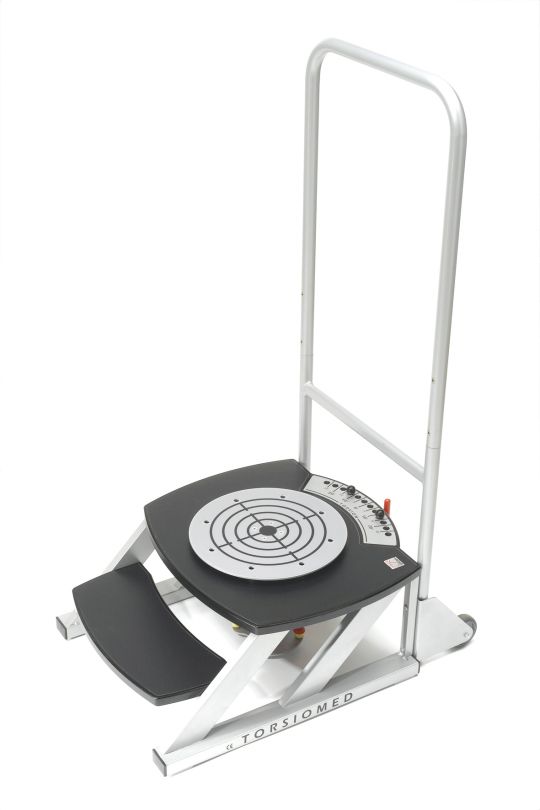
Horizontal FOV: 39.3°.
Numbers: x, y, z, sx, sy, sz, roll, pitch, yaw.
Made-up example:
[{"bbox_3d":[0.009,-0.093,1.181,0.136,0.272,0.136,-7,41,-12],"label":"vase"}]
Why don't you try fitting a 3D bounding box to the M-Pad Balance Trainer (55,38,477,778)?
[{"bbox_3d":[0.038,-0.064,1.877,0.991,1.676,0.674,-15,30,-36],"label":"M-Pad Balance Trainer"}]
